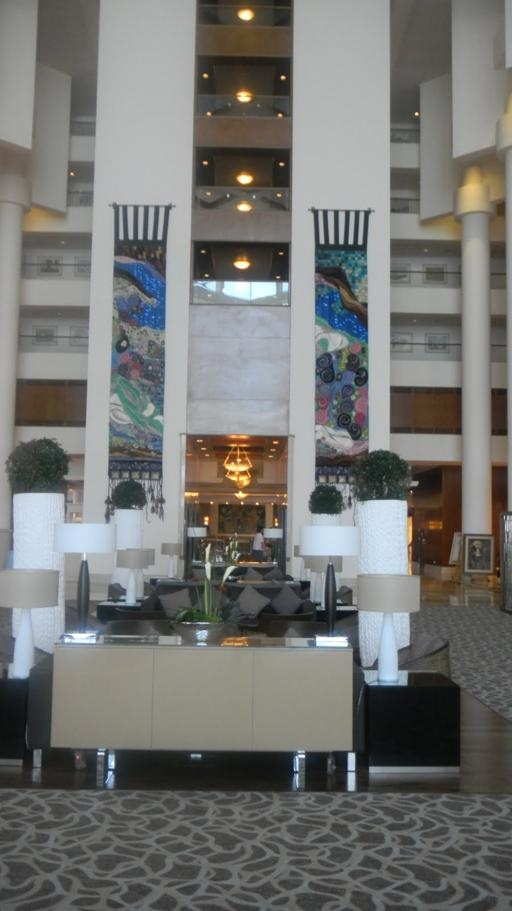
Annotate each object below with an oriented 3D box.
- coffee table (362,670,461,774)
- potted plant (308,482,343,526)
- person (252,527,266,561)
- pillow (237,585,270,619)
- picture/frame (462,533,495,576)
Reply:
[{"bbox_3d":[0.775,1.328,3.879,0.401,0.340,0.423,0,1,8],"label":"coffee table"},{"bbox_3d":[0.816,0.587,9.290,0.329,0.463,0.430,1,-7,-1],"label":"potted plant"},{"bbox_3d":[0.044,1.883,16.245,0.243,0.568,0.776,1,-7,-1],"label":"person"},{"bbox_3d":[-0.055,1.362,7.317,0.232,0.255,0.076,35,-18,26],"label":"pillow"},{"bbox_3d":[4.463,1.986,16.012,0.786,1.048,0.096,0,13,-3],"label":"picture/frame"}]
